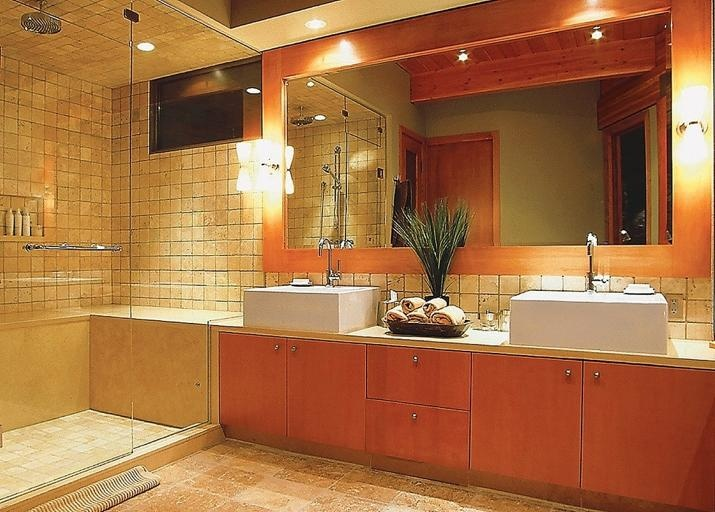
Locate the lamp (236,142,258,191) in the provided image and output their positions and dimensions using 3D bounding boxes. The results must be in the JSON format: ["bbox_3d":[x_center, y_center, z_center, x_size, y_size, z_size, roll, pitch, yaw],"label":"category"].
[{"bbox_3d":[-0.933,-0.743,4.768,0.148,0.425,0.223,1,7,-12],"label":"lamp"}]

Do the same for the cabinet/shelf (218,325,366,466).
[{"bbox_3d":[-0.406,0.955,3.895,0.954,0.558,0.332,-1,-6,22],"label":"cabinet/shelf"}]

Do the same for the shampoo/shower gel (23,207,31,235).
[{"bbox_3d":[-1.959,-0.197,3.367,0.025,0.156,0.054,8,9,38],"label":"shampoo/shower gel"}]

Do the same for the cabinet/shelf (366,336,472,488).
[{"bbox_3d":[0.447,1.004,3.907,0.945,0.884,0.709,-2,-5,27],"label":"cabinet/shelf"}]

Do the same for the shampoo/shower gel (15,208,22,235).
[{"bbox_3d":[-1.986,-0.197,3.327,0.030,0.150,0.047,8,9,38],"label":"shampoo/shower gel"}]

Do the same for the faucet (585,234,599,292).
[{"bbox_3d":[1.492,0.038,3.629,0.078,0.366,0.226,5,8,21],"label":"faucet"}]

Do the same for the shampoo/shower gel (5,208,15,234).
[{"bbox_3d":[-2.006,-0.196,3.277,0.021,0.153,0.065,4,7,11],"label":"shampoo/shower gel"}]
